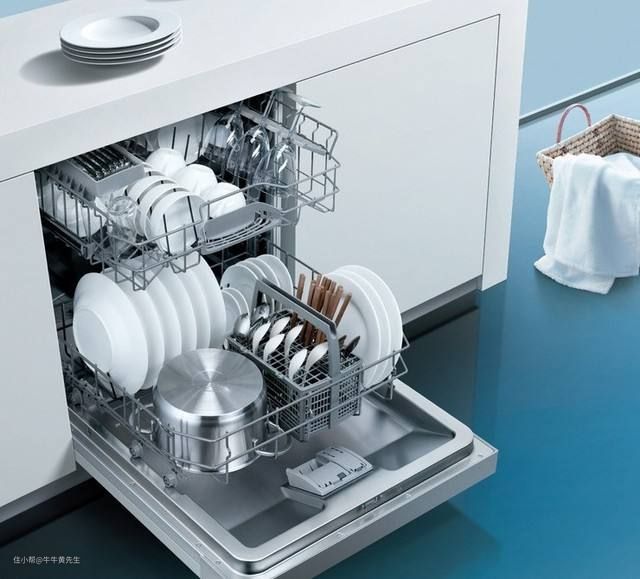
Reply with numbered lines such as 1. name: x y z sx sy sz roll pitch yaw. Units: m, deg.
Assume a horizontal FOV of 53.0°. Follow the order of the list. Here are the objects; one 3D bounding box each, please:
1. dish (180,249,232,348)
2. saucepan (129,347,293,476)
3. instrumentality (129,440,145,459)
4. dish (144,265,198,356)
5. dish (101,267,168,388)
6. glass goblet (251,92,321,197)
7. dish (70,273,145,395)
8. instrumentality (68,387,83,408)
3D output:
1. dish: -0.205 0.029 1.224 0.028 0.139 0.133 -8 2 -24
2. saucepan: -0.143 0.201 1.038 0.250 0.083 0.270 2 33 -5
3. instrumentality: -0.302 0.264 1.059 0.022 0.029 0.011 3 7 27
4. dish: -0.246 0.036 1.165 0.035 0.139 0.127 -10 17 -34
5. dish: -0.297 0.065 1.160 0.038 0.177 0.174 -15 28 -41
6. glass goblet: -0.071 -0.292 1.250 0.110 0.148 0.153 36 62 19
7. dish: -0.373 0.071 1.144 0.196 0.198 0.052 41 40 26
8. instrumentality: -0.463 0.205 1.218 0.035 0.036 0.012 3 5 38
